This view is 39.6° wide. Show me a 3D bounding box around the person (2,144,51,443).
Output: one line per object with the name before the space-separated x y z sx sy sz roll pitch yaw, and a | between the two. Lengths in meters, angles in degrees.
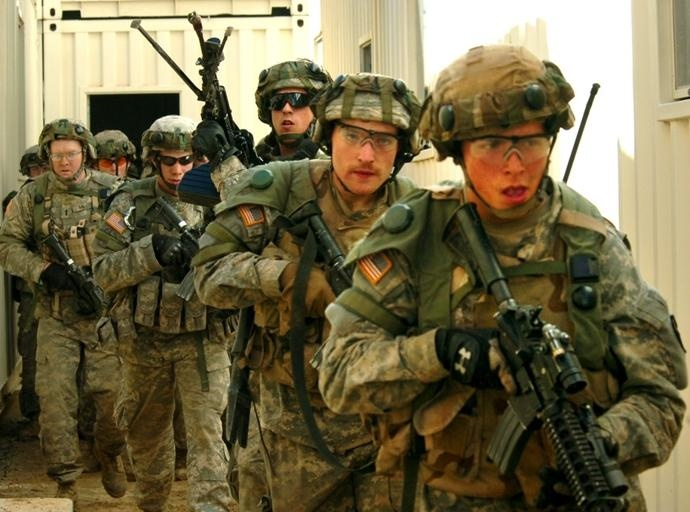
person | -3.064 0.367 9.216 0.324 3.128 0.933 0 -2 -32

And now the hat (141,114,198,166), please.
hat | -1.393 -0.977 7.589 0.364 0.391 0.415 -6 17 -40

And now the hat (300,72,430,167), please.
hat | 0.154 -0.847 5.303 0.448 0.599 0.576 5 22 -4

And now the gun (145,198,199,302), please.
gun | -1.286 -0.026 7.033 0.240 0.726 0.164 -24 -12 36

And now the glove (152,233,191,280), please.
glove | -1.285 0.005 7.119 0.285 0.344 0.326 1 1 -13

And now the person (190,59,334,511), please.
person | -0.503 0.390 6.722 0.402 3.767 1.074 -2 6 -41

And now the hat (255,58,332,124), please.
hat | -0.374 -1.230 6.830 0.340 0.340 0.466 2 -30 5

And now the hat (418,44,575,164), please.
hat | 0.645 -0.700 4.025 0.393 0.458 0.482 -12 -1 -8

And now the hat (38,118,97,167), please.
hat | -2.518 -1.095 8.720 0.324 0.510 0.354 0 30 -5

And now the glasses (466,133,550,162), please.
glasses | 0.691 -0.458 4.017 0.326 0.130 0.078 1 1 0
